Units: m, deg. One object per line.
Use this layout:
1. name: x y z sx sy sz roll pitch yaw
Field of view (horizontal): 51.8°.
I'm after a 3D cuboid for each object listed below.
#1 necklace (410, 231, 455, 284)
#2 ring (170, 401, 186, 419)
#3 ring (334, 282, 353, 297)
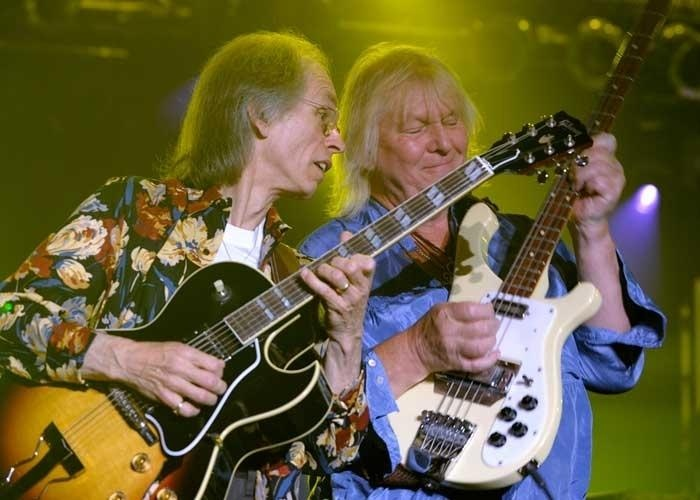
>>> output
1. necklace: 0.371 0.039 3.290 0.259 0.118 0.042 46 -8 33
2. ring: -0.622 0.579 2.613 0.014 0.053 0.049 23 21 -16
3. ring: -0.026 0.143 2.645 0.046 0.013 0.046 -28 -4 -2
